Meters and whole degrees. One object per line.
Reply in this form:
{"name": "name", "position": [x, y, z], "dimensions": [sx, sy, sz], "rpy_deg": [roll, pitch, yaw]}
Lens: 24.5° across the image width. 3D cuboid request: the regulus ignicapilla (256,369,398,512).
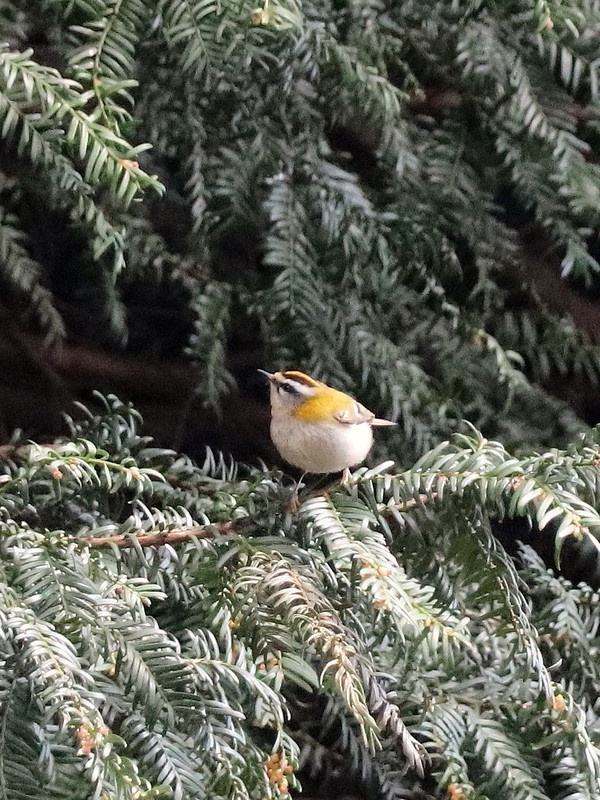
{"name": "regulus ignicapilla", "position": [0.031, 0.032, 1.603], "dimensions": [0.196, 0.157, 0.105], "rpy_deg": [-5, 7, -38]}
